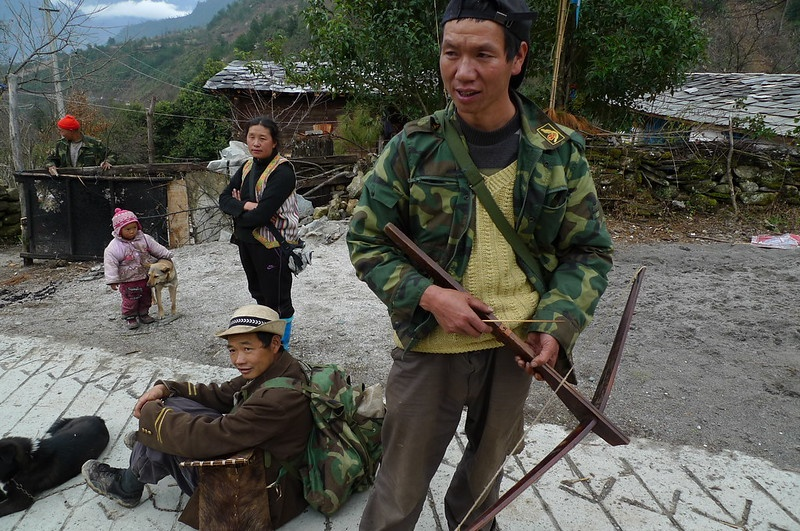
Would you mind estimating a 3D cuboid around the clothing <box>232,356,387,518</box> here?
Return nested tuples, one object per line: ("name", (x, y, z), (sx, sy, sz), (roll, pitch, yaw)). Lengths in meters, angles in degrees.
("clothing", (-0.752, 1.305, 4.563), (1.219, 1.213, 1.056), (-4, 18, -10))

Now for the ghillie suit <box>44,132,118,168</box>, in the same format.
("ghillie suit", (-5.845, -2.008, 9.974), (1.076, 0.732, 0.537), (-4, 11, -16))

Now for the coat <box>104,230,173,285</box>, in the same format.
("coat", (-3.281, -0.085, 6.792), (0.782, 0.619, 0.377), (-12, 20, -41))

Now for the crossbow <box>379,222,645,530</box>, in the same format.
("crossbow", (0.805, 0.916, 3.453), (1.470, 2.183, 0.719), (-3, 15, -8))

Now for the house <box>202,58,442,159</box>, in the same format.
("house", (-3.389, -4.843, 19.872), (8.652, 3.101, 4.486), (-16, -3, -36))

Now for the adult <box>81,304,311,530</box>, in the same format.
("adult", (-1.280, 0.953, 4.710), (2.109, 1.839, 1.207), (15, 19, -8))

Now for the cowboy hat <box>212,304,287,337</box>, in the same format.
("cowboy hat", (-1.106, 0.430, 4.153), (0.333, 0.132, 0.320), (-11, -8, 29))

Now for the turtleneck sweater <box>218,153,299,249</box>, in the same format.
("turtleneck sweater", (-1.491, -0.705, 5.849), (0.852, 1.000, 0.689), (13, 17, 20))

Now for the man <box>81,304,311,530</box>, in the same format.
("man", (-1.332, 0.972, 4.755), (2.109, 1.839, 1.207), (15, 19, -8))

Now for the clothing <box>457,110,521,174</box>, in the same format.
("clothing", (0.594, -0.735, 3.368), (0.307, 0.407, 0.223), (-5, 13, 3))

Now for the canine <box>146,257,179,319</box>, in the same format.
("canine", (-3.063, 0.234, 7.075), (0.334, 0.714, 1.099), (-5, 16, -21))

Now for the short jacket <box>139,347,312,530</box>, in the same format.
("short jacket", (-1.209, 1.256, 4.490), (1.432, 1.152, 1.150), (8, 14, -1))

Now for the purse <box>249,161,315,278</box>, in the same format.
("purse", (-1.411, -0.562, 5.805), (0.976, 1.197, 0.612), (15, 12, 37))
